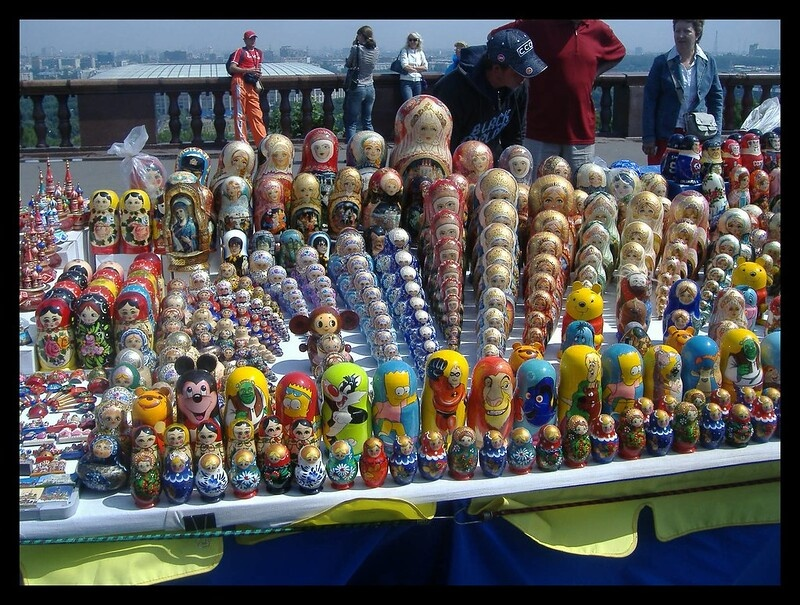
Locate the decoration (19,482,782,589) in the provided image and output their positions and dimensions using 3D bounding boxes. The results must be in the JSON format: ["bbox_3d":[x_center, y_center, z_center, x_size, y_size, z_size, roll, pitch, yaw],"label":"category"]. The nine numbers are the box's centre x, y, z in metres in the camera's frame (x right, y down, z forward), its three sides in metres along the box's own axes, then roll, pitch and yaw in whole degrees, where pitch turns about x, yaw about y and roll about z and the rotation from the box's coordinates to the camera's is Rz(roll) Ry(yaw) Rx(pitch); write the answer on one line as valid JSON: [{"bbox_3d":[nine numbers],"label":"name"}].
[{"bbox_3d":[0.202,1.043,3.843,2.919,0.491,0.134,-4,4,-8],"label":"decoration"}]

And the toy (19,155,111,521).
[{"bbox_3d":[-1.586,0.192,4.421,0.414,1.536,0.637,-8,25,-15],"label":"toy"}]

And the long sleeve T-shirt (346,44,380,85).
[{"bbox_3d":[-0.352,-2.143,8.495,0.298,0.337,0.344,-3,4,-4],"label":"long sleeve T-shirt"}]

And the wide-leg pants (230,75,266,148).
[{"bbox_3d":[-1.329,-1.629,8.221,0.239,0.701,0.149,4,-29,-23],"label":"wide-leg pants"}]

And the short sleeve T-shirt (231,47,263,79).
[{"bbox_3d":[-1.343,-2.071,8.098,0.307,0.234,0.217,-5,5,-22],"label":"short sleeve T-shirt"}]

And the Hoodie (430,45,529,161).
[{"bbox_3d":[0.553,-1.408,6.598,0.455,0.916,0.492,-17,26,-36],"label":"Hoodie"}]

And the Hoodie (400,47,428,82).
[{"bbox_3d":[0.126,-2.240,8.874,0.161,0.299,0.399,1,6,39],"label":"Hoodie"}]
